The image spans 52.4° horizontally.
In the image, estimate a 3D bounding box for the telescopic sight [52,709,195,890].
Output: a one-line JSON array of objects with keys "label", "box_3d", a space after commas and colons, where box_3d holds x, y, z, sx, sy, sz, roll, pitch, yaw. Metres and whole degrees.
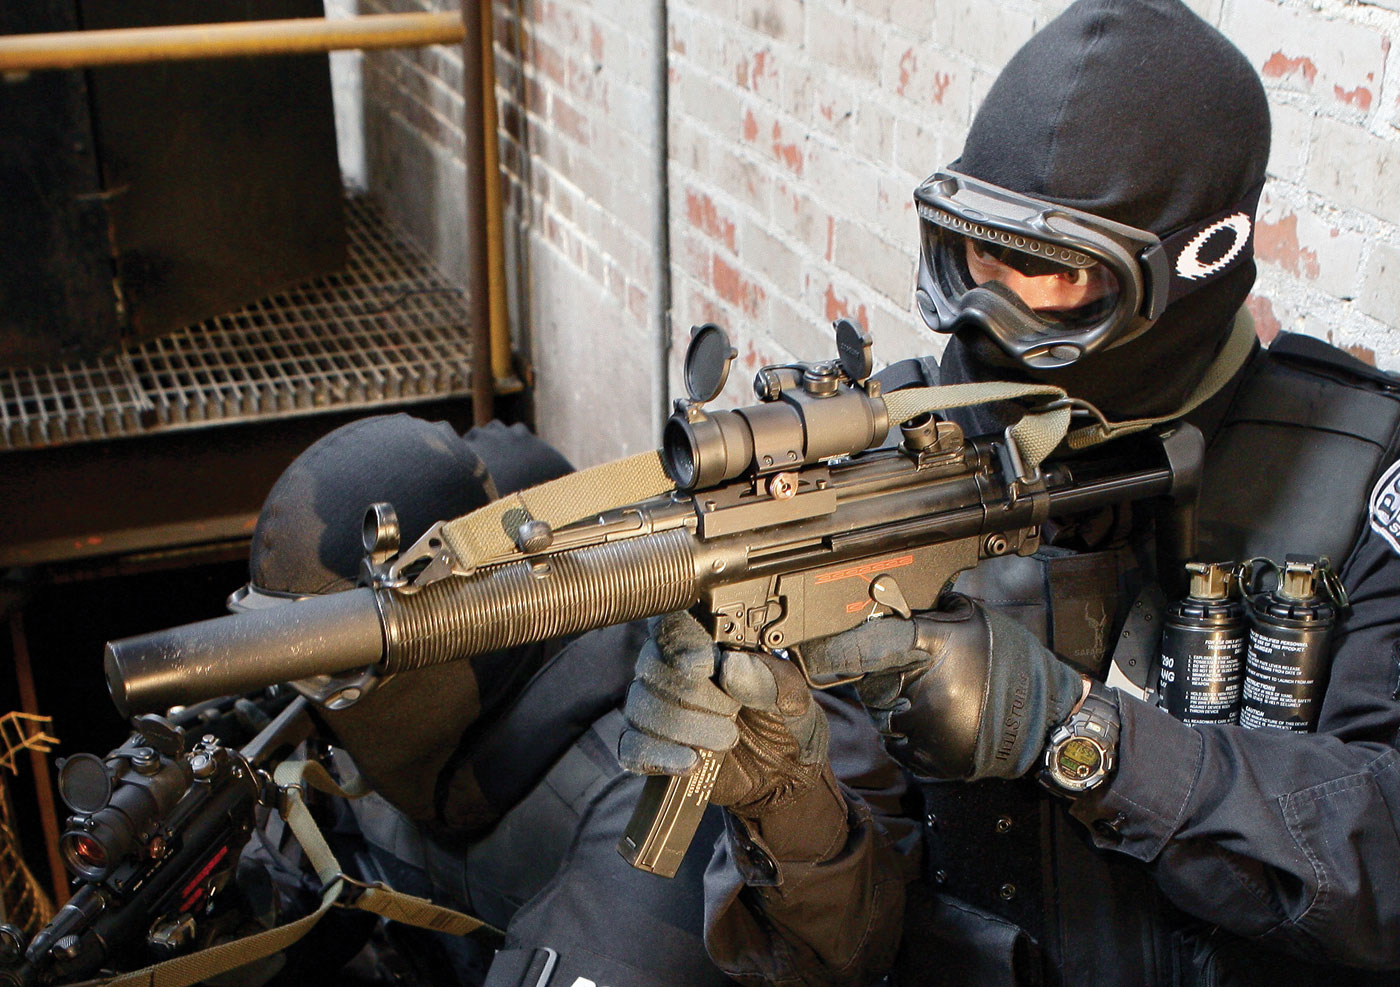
[{"label": "telescopic sight", "box_3d": [-1.109, 0.558, 2.720, 0.204, 0.265, 0.246, 12, 28, 29]}]

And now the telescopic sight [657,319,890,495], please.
[{"label": "telescopic sight", "box_3d": [0.103, -0.131, 2.210, 0.314, 0.242, 0.227, -14, 21, -18]}]

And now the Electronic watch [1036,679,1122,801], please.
[{"label": "Electronic watch", "box_3d": [0.631, 0.413, 2.315, 0.141, 0.146, 0.099, -17, 28, -28]}]

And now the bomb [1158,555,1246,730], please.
[{"label": "bomb", "box_3d": [0.845, 0.249, 2.369, 0.126, 0.252, 0.102, -4, 23, -4]}]

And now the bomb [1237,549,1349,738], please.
[{"label": "bomb", "box_3d": [0.965, 0.245, 2.327, 0.157, 0.265, 0.141, 8, 26, 22]}]
